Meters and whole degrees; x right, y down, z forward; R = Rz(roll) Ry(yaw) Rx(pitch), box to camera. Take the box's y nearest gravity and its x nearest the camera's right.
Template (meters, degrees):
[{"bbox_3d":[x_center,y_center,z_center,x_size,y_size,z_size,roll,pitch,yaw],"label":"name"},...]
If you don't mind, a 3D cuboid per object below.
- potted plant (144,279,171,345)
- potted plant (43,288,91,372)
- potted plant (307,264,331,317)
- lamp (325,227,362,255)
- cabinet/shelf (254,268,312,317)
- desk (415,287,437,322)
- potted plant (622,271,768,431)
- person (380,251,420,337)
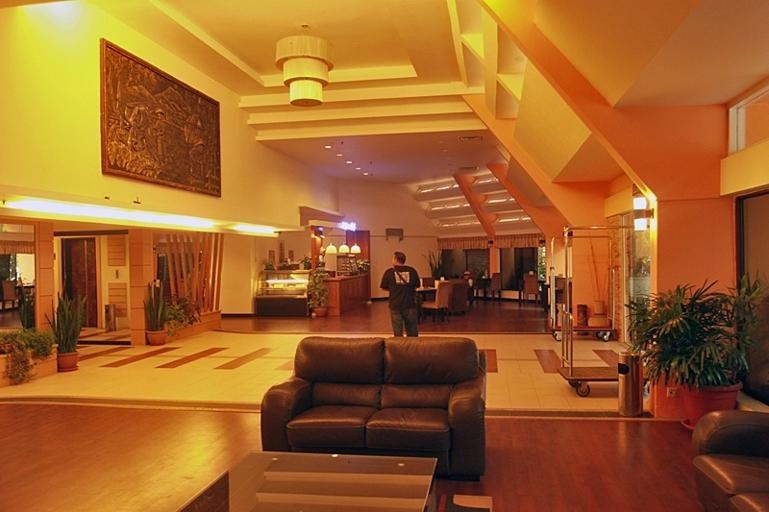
[{"bbox_3d":[-4.685,1.165,11.224,0.377,1.268,0.451,1,8,15],"label":"potted plant"},{"bbox_3d":[-5.415,1.307,9.377,0.598,1.227,0.900,-6,9,-32],"label":"potted plant"},{"bbox_3d":[-1.826,1.003,15.221,0.567,1.235,0.677,-2,7,-8],"label":"potted plant"},{"bbox_3d":[-1.519,-0.342,18.041,1.482,0.726,0.516,2,-1,12],"label":"lamp"},{"bbox_3d":[-2.834,1.069,15.777,1.711,1.444,1.215,0,-2,3],"label":"cabinet/shelf"},{"bbox_3d":[1.011,1.234,14.201,0.696,0.814,0.875,-2,-2,42],"label":"desk"},{"bbox_3d":[3.565,1.066,6.233,1.277,1.697,0.858,-1,7,3],"label":"potted plant"},{"bbox_3d":[0.281,0.684,9.507,0.598,1.602,0.977,-1,7,2],"label":"person"}]
